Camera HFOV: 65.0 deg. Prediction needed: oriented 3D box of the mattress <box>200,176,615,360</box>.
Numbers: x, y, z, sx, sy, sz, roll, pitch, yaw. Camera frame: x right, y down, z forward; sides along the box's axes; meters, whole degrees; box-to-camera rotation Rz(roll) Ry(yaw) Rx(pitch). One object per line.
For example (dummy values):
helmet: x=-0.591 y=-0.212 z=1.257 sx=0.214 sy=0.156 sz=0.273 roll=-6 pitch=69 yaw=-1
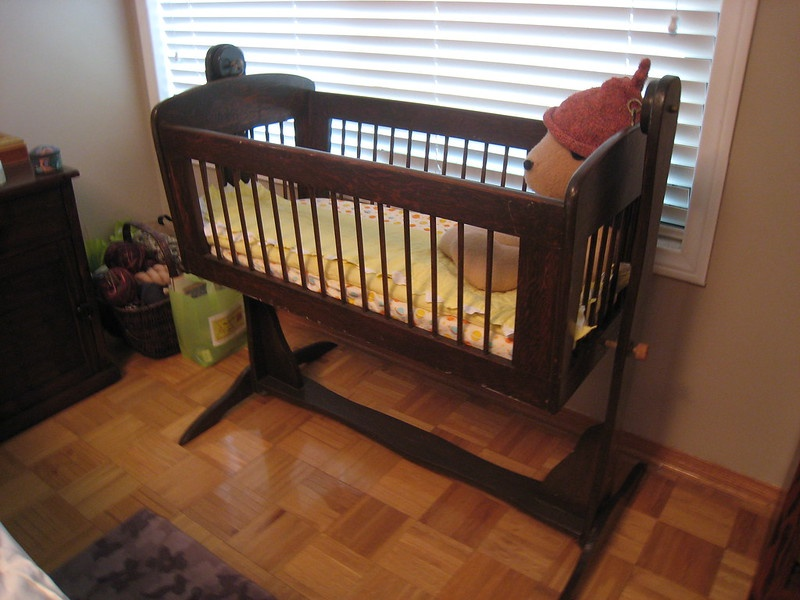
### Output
mattress: x=-0.079 y=-0.150 z=1.946 sx=1.054 sy=0.329 sz=0.559 roll=21 pitch=37 yaw=24

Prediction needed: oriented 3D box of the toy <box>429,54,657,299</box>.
toy: x=0.374 y=-0.506 z=1.895 sx=0.642 sy=0.887 sz=0.527 roll=8 pitch=51 yaw=13
